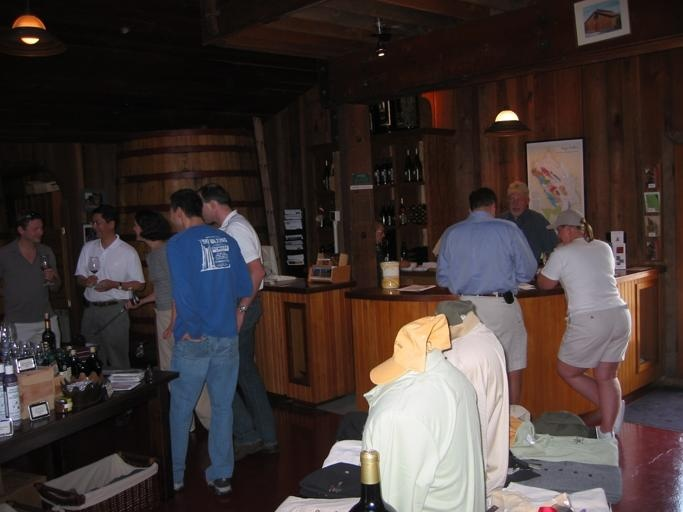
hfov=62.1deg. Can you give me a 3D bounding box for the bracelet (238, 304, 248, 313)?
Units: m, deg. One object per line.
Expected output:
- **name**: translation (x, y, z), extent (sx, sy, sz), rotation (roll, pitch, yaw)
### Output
- **bracelet**: translation (-0.682, 0.359, 3.960), extent (0.057, 0.041, 0.069), rotation (2, -9, -13)

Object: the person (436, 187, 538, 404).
- **person**: translation (1.210, 0.397, 4.489), extent (0.711, 1.806, 0.684), rotation (-2, 8, 23)

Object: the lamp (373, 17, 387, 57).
- **lamp**: translation (0.343, -1.914, 4.956), extent (0.122, 0.222, 0.127), rotation (7, 14, 36)

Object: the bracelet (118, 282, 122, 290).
- **bracelet**: translation (-1.861, 0.252, 4.807), extent (0.028, 0.043, 0.038), rotation (-3, 9, -42)

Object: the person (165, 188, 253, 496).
- **person**: translation (-0.857, 0.678, 3.782), extent (0.647, 1.759, 0.259), rotation (-6, 5, -20)

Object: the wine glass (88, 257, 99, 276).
- **wine glass**: translation (-1.962, 0.072, 4.536), extent (0.073, 0.100, 0.224), rotation (-7, 5, -25)

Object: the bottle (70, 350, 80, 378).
- **bottle**: translation (-1.591, 0.633, 3.409), extent (0.049, 0.125, 0.108), rotation (-7, 5, -27)

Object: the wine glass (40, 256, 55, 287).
- **wine glass**: translation (-2.370, 0.118, 4.633), extent (0.104, 0.198, 0.329), rotation (-7, 5, -27)

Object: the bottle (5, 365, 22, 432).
- **bottle**: translation (-1.729, 0.725, 2.990), extent (0.058, 0.277, 0.072), rotation (-6, 4, -14)

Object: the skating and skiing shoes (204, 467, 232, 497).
- **skating and skiing shoes**: translation (-0.809, 1.502, 3.762), extent (0.104, 0.120, 0.239), rotation (0, 9, -29)

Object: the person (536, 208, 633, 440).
- **person**: translation (1.816, 0.533, 4.257), extent (0.616, 1.773, 0.358), rotation (-4, 4, 18)

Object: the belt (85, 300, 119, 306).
- **belt**: translation (-2.039, 0.398, 4.841), extent (0.318, 0.043, 0.072), rotation (-4, 5, 13)

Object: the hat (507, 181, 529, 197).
- **hat**: translation (1.716, -0.657, 5.474), extent (0.137, 0.087, 0.202), rotation (1, -2, 28)

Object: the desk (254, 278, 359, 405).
- **desk**: translation (-0.352, 0.804, 5.577), extent (0.607, 1.049, 1.021), rotation (-3, 1, -37)

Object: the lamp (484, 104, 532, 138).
- **lamp**: translation (1.681, -1.331, 5.763), extent (0.394, 0.225, 0.389), rotation (-3, 5, -34)

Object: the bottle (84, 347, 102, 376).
- **bottle**: translation (-1.520, 0.639, 3.493), extent (0.086, 0.134, 0.202), rotation (-7, 5, -23)

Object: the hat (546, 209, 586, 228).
- **hat**: translation (1.691, -0.270, 4.308), extent (0.200, 0.117, 0.145), rotation (8, 15, 38)

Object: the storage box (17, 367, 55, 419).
- **storage box**: translation (-1.661, 0.743, 3.089), extent (0.137, 0.260, 0.262), rotation (-2, -3, 24)

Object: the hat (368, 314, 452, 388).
- **hat**: translation (0.257, 0.352, 2.182), extent (0.359, 0.181, 0.244), rotation (-22, 10, -10)
